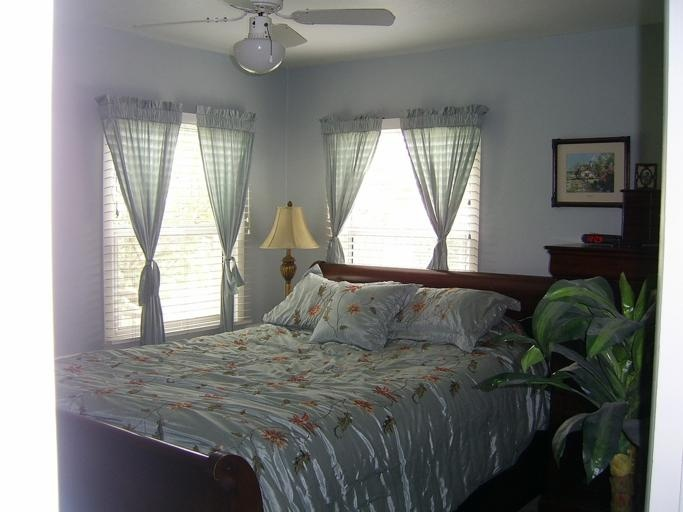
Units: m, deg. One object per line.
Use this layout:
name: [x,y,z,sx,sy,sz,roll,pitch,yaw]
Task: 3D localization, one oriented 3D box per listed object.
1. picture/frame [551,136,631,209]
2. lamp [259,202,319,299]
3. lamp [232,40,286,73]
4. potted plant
picture/frame: [1.799,-0.603,3.540,0.575,0.611,0.097,2,3,37]
lamp: [-0.484,0.039,4.375,0.486,0.926,0.508,6,4,41]
lamp: [-0.427,-1.052,2.614,0.288,0.190,0.291,14,23,24]
potted plant: [0.807,0.462,1.771,0.436,0.849,1.150,4,4,30]
